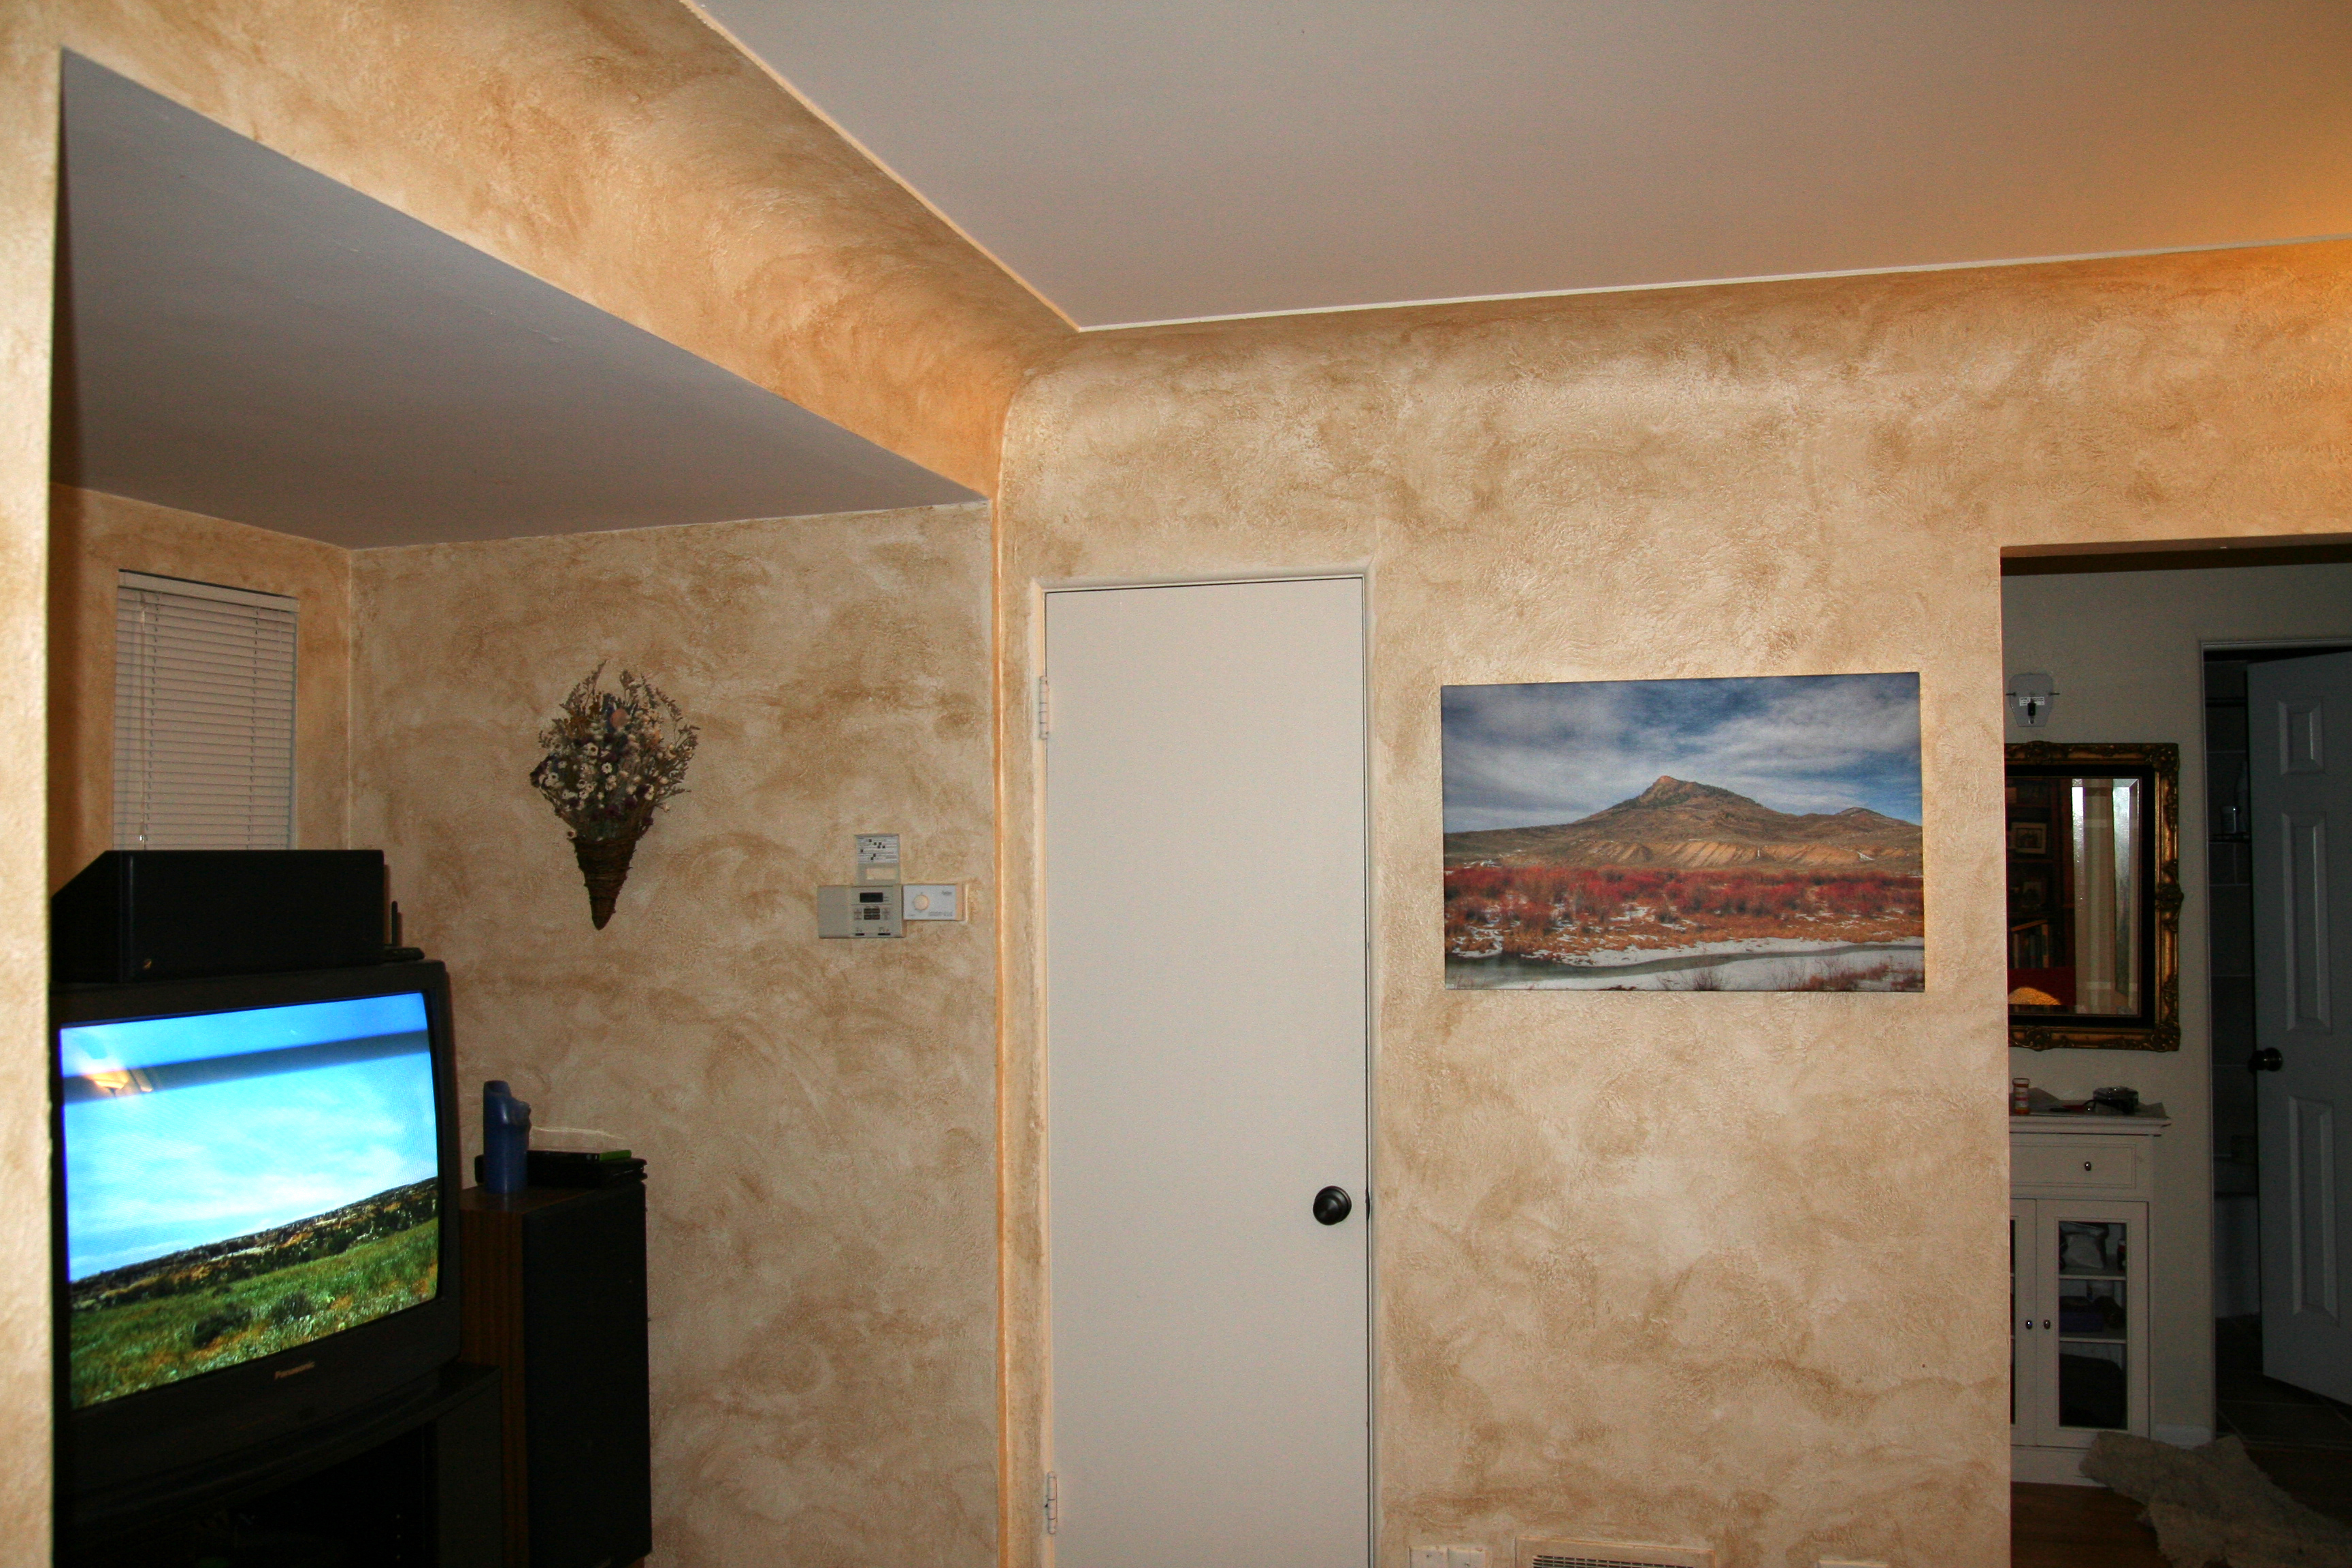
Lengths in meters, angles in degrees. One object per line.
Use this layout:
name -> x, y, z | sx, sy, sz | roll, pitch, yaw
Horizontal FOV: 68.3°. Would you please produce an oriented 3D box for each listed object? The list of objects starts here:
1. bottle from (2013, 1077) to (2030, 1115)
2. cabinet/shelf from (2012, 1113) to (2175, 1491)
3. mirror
bottle -> 2.807, 1.021, 5.738 | 0.044, 0.086, 0.187 | -1, -3, 29
cabinet/shelf -> 2.837, 1.627, 5.724 | 0.790, 1.128, 0.346 | -1, -3, 21
mirror -> 3.092, 0.374, 5.813 | 0.531, 1.008, 0.063 | 0, -2, 7
